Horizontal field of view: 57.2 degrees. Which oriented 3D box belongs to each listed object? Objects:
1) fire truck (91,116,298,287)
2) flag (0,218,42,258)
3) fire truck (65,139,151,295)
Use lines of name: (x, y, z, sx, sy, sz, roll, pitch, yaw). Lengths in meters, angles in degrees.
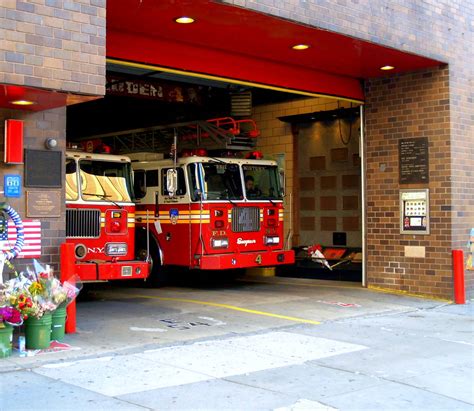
fire truck: (-2.113, 0.336, 13.824, 7.264, 3.188, 4.152, 1, 2, 42)
flag: (-3.145, 0.471, 6.241, 0.037, 0.601, 0.744, -11, -7, 35)
fire truck: (-2.894, 0.172, 9.552, 1.669, 2.856, 1.238, -1, -2, -22)
